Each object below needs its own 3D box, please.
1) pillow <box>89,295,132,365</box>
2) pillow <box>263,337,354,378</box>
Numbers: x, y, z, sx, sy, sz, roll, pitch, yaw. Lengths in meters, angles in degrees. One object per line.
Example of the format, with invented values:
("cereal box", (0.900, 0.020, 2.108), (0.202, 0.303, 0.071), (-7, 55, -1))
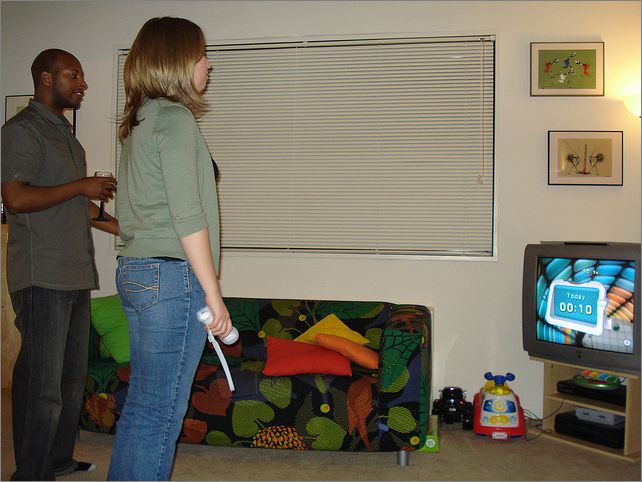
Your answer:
("pillow", (-1.281, 0.557, 3.452), (0.130, 0.441, 0.438), (-24, 14, -24))
("pillow", (-0.084, 0.716, 3.503), (0.359, 0.086, 0.237), (-3, 23, 2))
